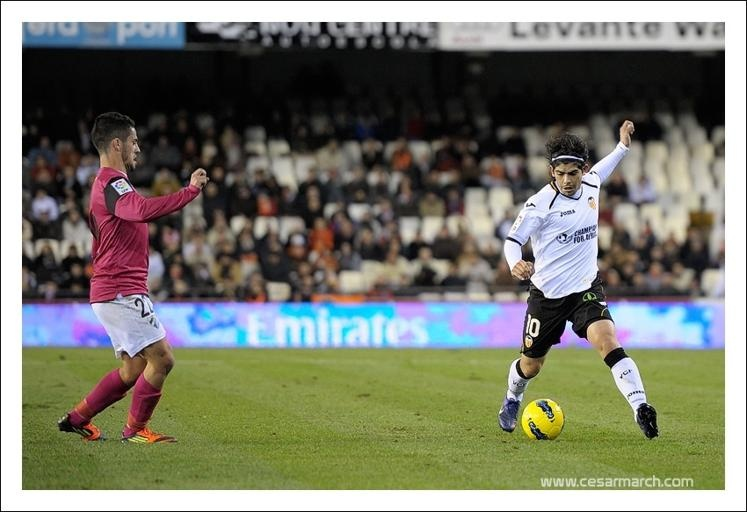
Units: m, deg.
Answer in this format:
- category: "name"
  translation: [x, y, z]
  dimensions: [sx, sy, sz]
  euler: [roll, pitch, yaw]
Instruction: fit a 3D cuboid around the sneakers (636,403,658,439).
- category: "sneakers"
  translation: [3.560, 2.149, 12.577]
  dimensions: [0.251, 0.482, 0.229]
  euler: [-18, -6, -6]
